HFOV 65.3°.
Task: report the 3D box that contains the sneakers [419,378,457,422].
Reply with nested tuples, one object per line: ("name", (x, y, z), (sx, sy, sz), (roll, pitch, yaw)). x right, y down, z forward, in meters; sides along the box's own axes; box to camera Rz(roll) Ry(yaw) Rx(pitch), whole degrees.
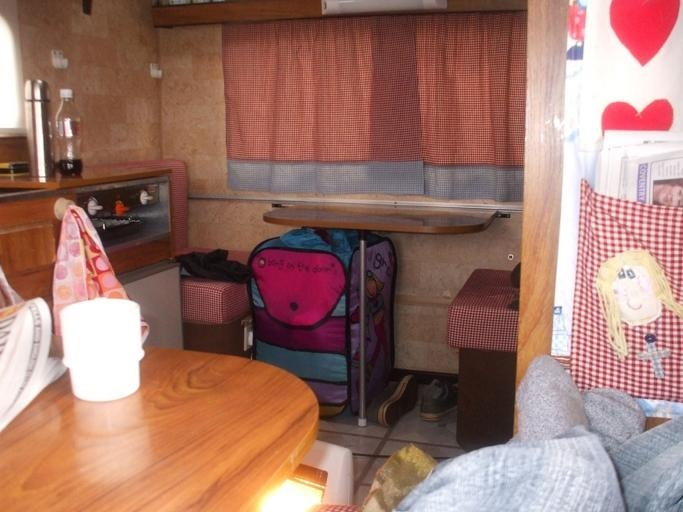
("sneakers", (0.461, 0.679, 2.510), (0.098, 0.114, 0.268), (1, 8, 25))

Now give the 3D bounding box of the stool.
("stool", (0.541, 0.401, 2.042), (0.241, 0.445, 0.736), (1, 7, 16))

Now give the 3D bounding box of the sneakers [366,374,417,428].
("sneakers", (0.245, 0.682, 2.515), (0.113, 0.135, 0.333), (5, 15, 25))

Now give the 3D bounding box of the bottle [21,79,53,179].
("bottle", (-1.028, -0.430, 1.811), (0.089, 0.322, 0.150), (-8, 13, -28))

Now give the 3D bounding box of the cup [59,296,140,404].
("cup", (-0.365, 0.146, 0.893), (0.141, 0.149, 0.145), (0, 11, 0))
